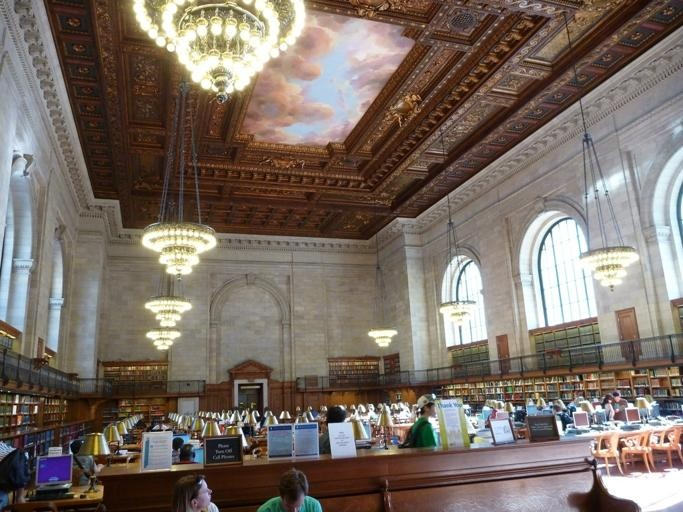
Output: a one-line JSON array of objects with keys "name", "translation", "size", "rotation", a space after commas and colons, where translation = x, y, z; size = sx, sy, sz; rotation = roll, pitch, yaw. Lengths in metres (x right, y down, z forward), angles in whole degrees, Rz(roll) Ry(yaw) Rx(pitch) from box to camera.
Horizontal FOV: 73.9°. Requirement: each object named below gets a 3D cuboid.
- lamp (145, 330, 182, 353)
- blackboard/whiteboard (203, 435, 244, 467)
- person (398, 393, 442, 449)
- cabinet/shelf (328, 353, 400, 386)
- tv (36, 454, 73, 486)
[{"name": "lamp", "translation": [-6.767, 3.227, 17.117], "size": [1.028, 0.650, 1.017], "rotation": [16, -31, -34]}, {"name": "blackboard/whiteboard", "translation": [-0.989, 1.628, 3.814], "size": [0.311, 0.226, 0.108], "rotation": [1, -18, -16]}, {"name": "person", "translation": [0.897, 1.905, 5.005], "size": [0.421, 0.733, 0.494], "rotation": [4, -20, -4]}, {"name": "cabinet/shelf", "translation": [0.983, 5.067, 20.218], "size": [3.057, 1.278, 1.255], "rotation": [-7, -18, 8]}, {"name": "tv", "translation": [-3.119, 2.334, 4.938], "size": [0.391, 0.315, 0.135], "rotation": [0, -17, -17]}]
